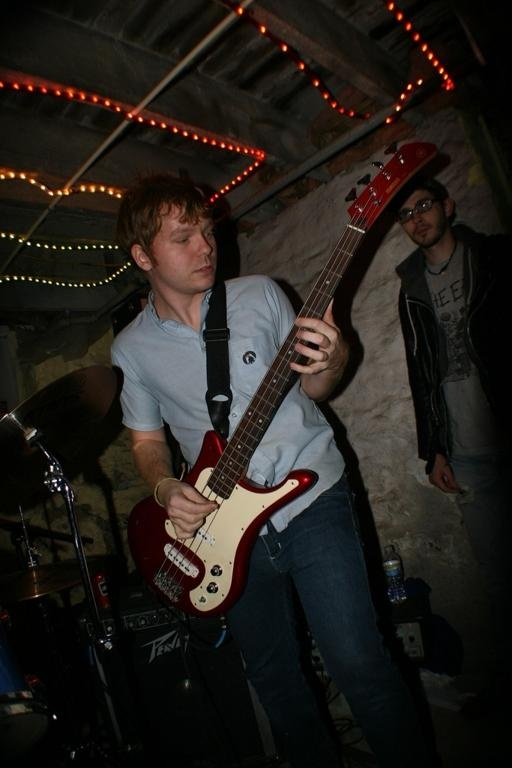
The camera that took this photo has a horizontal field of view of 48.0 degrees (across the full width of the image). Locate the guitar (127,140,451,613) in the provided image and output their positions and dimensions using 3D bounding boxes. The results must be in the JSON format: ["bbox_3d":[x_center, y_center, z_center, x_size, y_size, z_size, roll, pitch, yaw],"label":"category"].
[{"bbox_3d":[0.147,0.318,2.141,0.269,0.645,2.230,8,-64,-50],"label":"guitar"}]

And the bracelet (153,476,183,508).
[{"bbox_3d":[-0.335,0.379,2.108,0.099,0.110,0.031,8,40,16],"label":"bracelet"}]
